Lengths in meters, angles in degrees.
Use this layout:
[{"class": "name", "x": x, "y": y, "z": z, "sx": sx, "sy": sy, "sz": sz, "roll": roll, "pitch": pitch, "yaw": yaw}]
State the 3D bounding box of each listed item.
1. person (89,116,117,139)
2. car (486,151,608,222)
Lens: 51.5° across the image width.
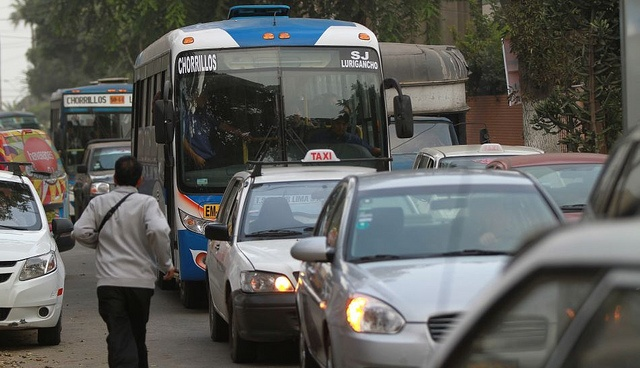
[{"class": "person", "x": -9.574, "y": -2.416, "z": 29.402, "sx": 0.945, "sy": 1.091, "sz": 1.630, "roll": 1, "pitch": 1, "yaw": -22}, {"class": "car", "x": 3.398, "y": 0.079, "z": 9.694, "sx": 1.124, "sy": 0.833, "sz": 1.843, "roll": 0, "pitch": -5, "yaw": -16}]
